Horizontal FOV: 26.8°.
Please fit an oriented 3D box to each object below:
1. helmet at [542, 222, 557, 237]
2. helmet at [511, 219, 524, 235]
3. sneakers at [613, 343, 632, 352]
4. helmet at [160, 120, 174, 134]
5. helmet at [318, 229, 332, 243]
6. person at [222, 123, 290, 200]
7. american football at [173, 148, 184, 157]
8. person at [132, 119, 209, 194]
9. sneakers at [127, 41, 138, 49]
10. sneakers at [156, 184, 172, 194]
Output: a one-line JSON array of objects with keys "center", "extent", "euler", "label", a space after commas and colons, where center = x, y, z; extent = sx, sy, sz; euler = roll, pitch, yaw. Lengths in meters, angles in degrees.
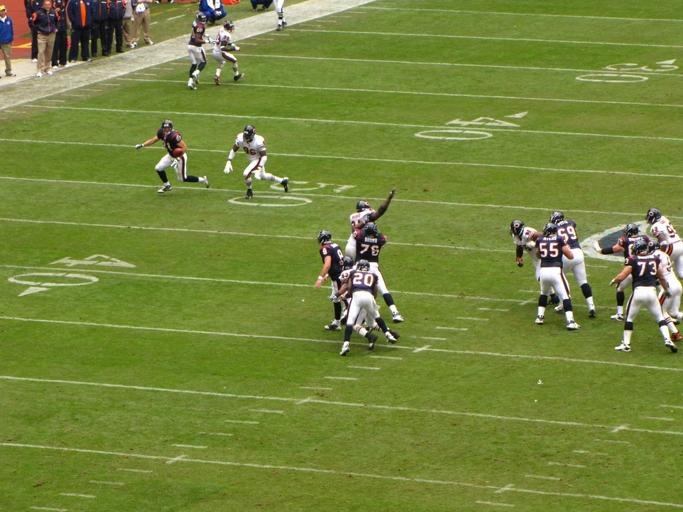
[{"center": [3.413, -0.425, 23.725], "extent": [0.310, 0.200, 0.189], "euler": [-8, 23, -6], "label": "helmet"}, {"center": [2.964, -0.459, 24.299], "extent": [0.217, 0.234, 0.173], "euler": [-5, 9, 4], "label": "helmet"}, {"center": [4.370, 1.437, 22.405], "extent": [0.124, 0.132, 0.245], "euler": [-10, 17, -33], "label": "sneakers"}, {"center": [-3.463, -2.625, 29.199], "extent": [0.308, 0.238, 0.306], "euler": [4, 19, -6], "label": "helmet"}, {"center": [-0.291, -0.306, 23.474], "extent": [0.286, 0.201, 0.219], "euler": [15, 14, 37], "label": "helmet"}, {"center": [-1.763, -1.903, 29.409], "extent": [1.215, 1.523, 0.784], "euler": [-6, 10, -3], "label": "person"}, {"center": [-3.283, -2.094, 29.171], "extent": [0.223, 0.144, 0.133], "euler": [-7, 32, 10], "label": "american football"}, {"center": [-3.522, -2.040, 29.699], "extent": [1.259, 1.525, 1.184], "euler": [-6, 9, -6], "label": "person"}, {"center": [-6.144, -6.250, 42.509], "extent": [0.286, 0.095, 0.320], "euler": [-5, 20, -14], "label": "sneakers"}, {"center": [-3.706, -1.397, 30.079], "extent": [0.379, 0.136, 0.135], "euler": [-1, 0, 40], "label": "sneakers"}]
